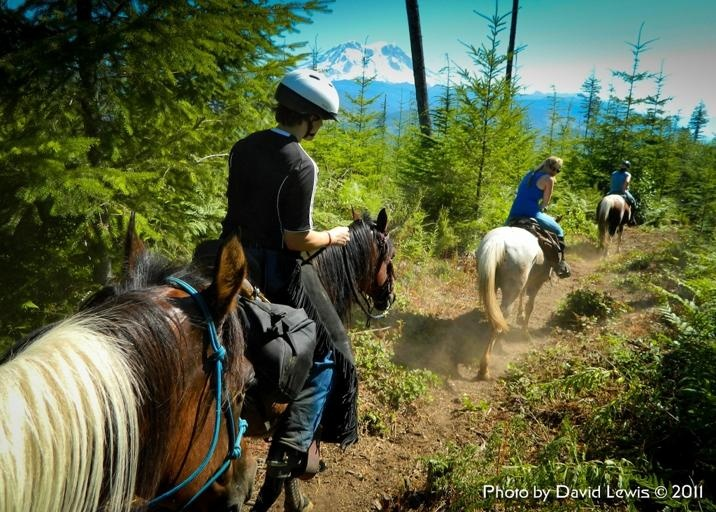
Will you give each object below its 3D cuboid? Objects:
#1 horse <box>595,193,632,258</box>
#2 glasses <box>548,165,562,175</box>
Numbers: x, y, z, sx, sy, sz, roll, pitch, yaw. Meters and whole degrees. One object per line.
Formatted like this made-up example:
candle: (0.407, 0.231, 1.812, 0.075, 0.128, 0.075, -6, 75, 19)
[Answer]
horse: (6.920, -0.871, 15.080, 0.605, 1.487, 2.154, 7, 13, 30)
glasses: (3.225, -1.395, 8.921, 0.132, 0.147, 0.114, -48, 20, -26)
